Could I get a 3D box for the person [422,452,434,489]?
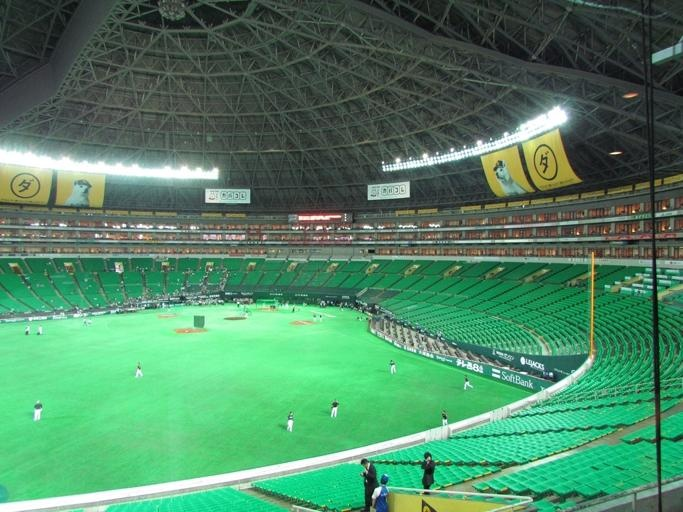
[{"bbox_3d":[4.310,10.770,25.873,0.620,1.726,0.936,3,12,9],"label":"person"}]
